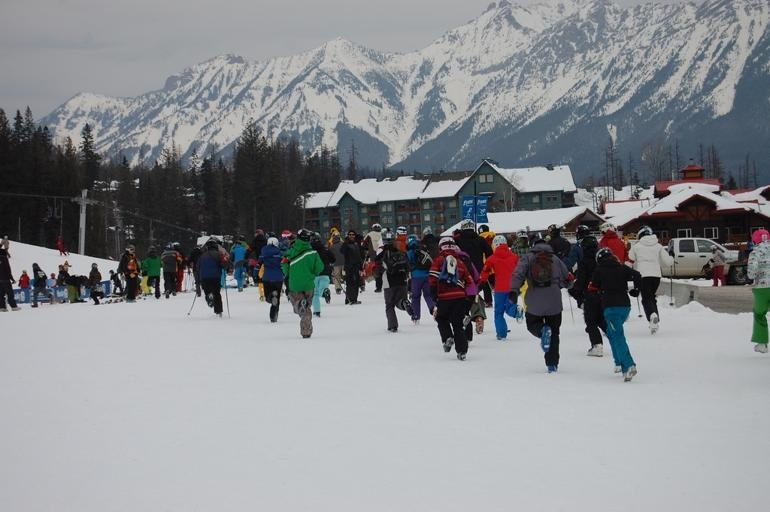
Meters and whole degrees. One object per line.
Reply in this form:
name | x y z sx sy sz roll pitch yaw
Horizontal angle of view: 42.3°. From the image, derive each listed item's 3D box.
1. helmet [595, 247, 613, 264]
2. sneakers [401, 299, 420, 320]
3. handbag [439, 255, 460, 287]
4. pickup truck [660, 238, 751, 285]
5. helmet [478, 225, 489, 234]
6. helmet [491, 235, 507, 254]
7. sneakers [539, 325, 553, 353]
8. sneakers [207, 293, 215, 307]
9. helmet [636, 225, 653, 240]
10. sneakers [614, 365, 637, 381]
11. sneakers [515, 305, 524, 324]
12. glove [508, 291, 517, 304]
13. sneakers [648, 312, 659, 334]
helmet | 4.352 -0.045 19.661 0.310 0.250 0.484 -1 8 6
sneakers | 0.646 1.354 25.441 0.230 0.698 0.283 -42 17 -25
handbag | 1.326 0.327 20.810 0.467 0.593 0.278 10 -16 -32
pickup truck | 12.760 0.274 39.625 2.653 1.412 1.698 -1 1 11
helmet | 2.835 -0.807 28.886 0.250 0.256 0.190 6 2 32
helmet | 2.724 -0.316 23.774 0.283 0.437 0.401 0 9 0
sneakers | 3.182 1.628 19.668 0.183 0.585 0.249 -3 6 6
sneakers | -5.122 1.297 29.017 0.240 0.388 0.116 4 -5 -28
helmet | 6.394 -0.599 24.473 0.355 0.397 0.277 14 -1 8
sneakers | 4.575 2.239 18.891 0.191 0.265 0.589 -22 -15 -6
sneakers | 3.374 1.463 24.890 0.156 0.538 0.197 -1 3 -3
glove | 2.579 0.824 20.059 0.149 0.293 0.362 0 7 12
sneakers | 6.372 1.593 23.573 0.194 0.636 0.258 1 -8 6
